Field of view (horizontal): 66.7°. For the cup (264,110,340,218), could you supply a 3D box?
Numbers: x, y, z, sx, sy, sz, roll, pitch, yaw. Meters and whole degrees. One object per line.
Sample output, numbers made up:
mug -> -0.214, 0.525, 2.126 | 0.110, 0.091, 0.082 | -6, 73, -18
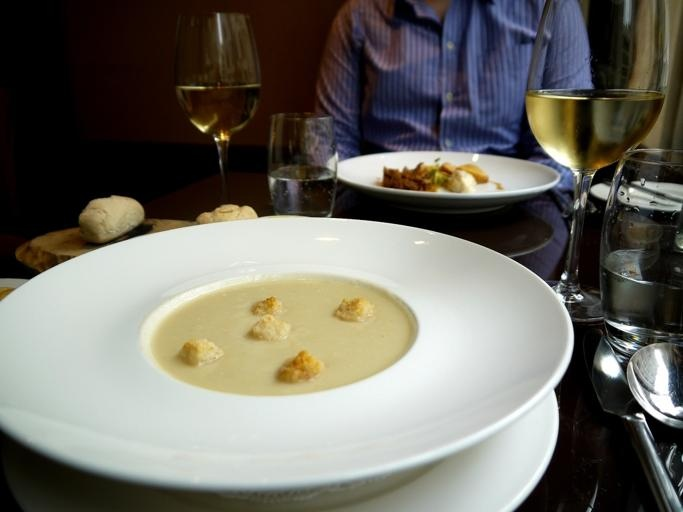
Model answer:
cup -> -0.080, -0.196, 1.118 | 0.135, 0.230, 0.140 | 0, 17, 0
